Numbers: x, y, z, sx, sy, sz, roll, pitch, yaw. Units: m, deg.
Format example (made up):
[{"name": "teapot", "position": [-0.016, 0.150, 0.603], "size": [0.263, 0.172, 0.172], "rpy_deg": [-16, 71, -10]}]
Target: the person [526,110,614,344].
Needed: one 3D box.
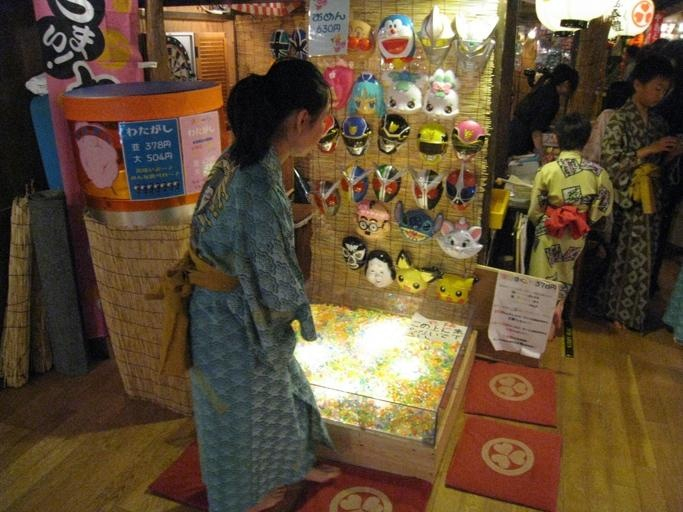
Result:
[{"name": "person", "position": [1.800, -0.206, 4.217], "size": [0.615, 1.747, 0.602], "rpy_deg": [3, 22, -1]}]
